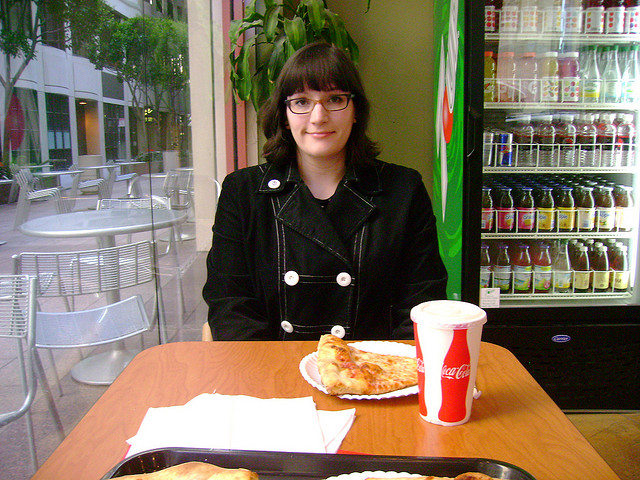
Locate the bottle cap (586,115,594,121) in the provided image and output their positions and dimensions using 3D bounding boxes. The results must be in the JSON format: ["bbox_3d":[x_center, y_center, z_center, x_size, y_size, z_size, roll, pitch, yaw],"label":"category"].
[{"bbox_3d":[1.553,-0.704,2.795,0.036,0.025,0.035,0,4,0],"label":"bottle cap"}]

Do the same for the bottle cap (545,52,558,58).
[{"bbox_3d":[1.314,-1.051,2.752,0.073,0.026,0.029,1,11,-3],"label":"bottle cap"}]

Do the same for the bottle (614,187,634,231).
[{"bbox_3d":[1.761,-0.180,2.808,0.106,0.250,0.122,7,12,24],"label":"bottle"}]

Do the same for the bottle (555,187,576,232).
[{"bbox_3d":[1.434,-0.176,2.818,0.113,0.257,0.065,-1,12,-12],"label":"bottle"}]

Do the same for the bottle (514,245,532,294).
[{"bbox_3d":[1.205,0.172,2.870,0.109,0.289,0.097,3,11,7],"label":"bottle"}]

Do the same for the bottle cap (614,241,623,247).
[{"bbox_3d":[1.759,0.023,2.861,0.041,0.024,0.040,0,1,6],"label":"bottle cap"}]

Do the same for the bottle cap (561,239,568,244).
[{"bbox_3d":[1.451,0.007,2.890,0.033,0.020,0.032,-2,1,-22],"label":"bottle cap"}]

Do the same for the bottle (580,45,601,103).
[{"bbox_3d":[1.545,-0.945,2.752,0.104,0.332,0.148,8,13,27],"label":"bottle"}]

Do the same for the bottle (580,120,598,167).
[{"bbox_3d":[1.542,-0.558,2.789,0.109,0.259,0.068,4,12,14],"label":"bottle"}]

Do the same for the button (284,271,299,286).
[{"bbox_3d":[-0.094,0.128,1.606,0.047,0.050,0.036,1,11,-5],"label":"button"}]

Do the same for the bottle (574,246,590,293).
[{"bbox_3d":[1.547,0.174,2.851,0.106,0.272,0.070,4,12,10],"label":"bottle"}]

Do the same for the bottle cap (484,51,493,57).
[{"bbox_3d":[0.951,-1.052,2.742,0.054,0.035,0.032,1,11,-5],"label":"bottle cap"}]

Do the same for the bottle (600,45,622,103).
[{"bbox_3d":[1.646,-0.943,2.753,0.112,0.316,0.105,1,11,0],"label":"bottle"}]

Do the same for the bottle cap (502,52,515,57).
[{"bbox_3d":[1.082,-1.058,2.777,0.081,0.025,0.034,-4,13,-29],"label":"bottle cap"}]

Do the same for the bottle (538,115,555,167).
[{"bbox_3d":[1.315,-0.581,2.829,0.092,0.296,0.139,5,12,16],"label":"bottle"}]

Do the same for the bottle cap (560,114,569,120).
[{"bbox_3d":[1.426,-0.717,2.839,0.032,0.023,0.032,0,5,4],"label":"bottle cap"}]

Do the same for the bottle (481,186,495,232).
[{"bbox_3d":[0.981,-0.178,2.830,0.080,0.264,0.113,5,12,18],"label":"bottle"}]

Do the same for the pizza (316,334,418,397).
[{"bbox_3d":[0.107,0.278,1.076,0.145,0.028,0.134,4,13,-15],"label":"pizza"}]

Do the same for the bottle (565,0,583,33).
[{"bbox_3d":[1.401,-1.237,2.681,0.101,0.178,0.065,4,12,10],"label":"bottle"}]

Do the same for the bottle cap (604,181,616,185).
[{"bbox_3d":[1.717,-0.339,2.882,0.043,0.010,0.042,-2,3,-15],"label":"bottle cap"}]

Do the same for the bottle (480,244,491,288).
[{"bbox_3d":[0.995,0.152,2.926,0.066,0.246,0.130,5,12,19],"label":"bottle"}]

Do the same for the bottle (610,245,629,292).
[{"bbox_3d":[1.757,0.168,2.827,0.124,0.264,0.078,-3,12,-21],"label":"bottle"}]

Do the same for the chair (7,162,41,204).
[{"bbox_3d":[-1.297,-0.252,2.142,0.137,0.181,0.127,0,11,3],"label":"chair"}]

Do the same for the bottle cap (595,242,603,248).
[{"bbox_3d":[1.638,0.026,2.859,0.037,0.022,0.036,-1,0,7],"label":"bottle cap"}]

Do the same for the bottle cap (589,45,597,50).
[{"bbox_3d":[1.559,-1.101,2.774,0.029,0.020,0.028,0,4,4],"label":"bottle cap"}]

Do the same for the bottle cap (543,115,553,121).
[{"bbox_3d":[1.338,-0.719,2.856,0.037,0.021,0.036,0,4,6],"label":"bottle cap"}]

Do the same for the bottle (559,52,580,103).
[{"bbox_3d":[1.420,-0.920,2.751,0.115,0.285,0.151,6,12,22],"label":"bottle"}]

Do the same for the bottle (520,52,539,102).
[{"bbox_3d":[1.196,-0.930,2.767,0.119,0.279,0.117,1,11,0],"label":"bottle"}]

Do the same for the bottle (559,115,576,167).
[{"bbox_3d":[1.433,-0.579,2.816,0.097,0.291,0.083,7,12,23],"label":"bottle"}]

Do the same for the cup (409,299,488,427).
[{"bbox_3d":[0.255,0.245,0.989,0.140,0.240,0.116,6,12,23],"label":"cup"}]

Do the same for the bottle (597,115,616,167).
[{"bbox_3d":[1.639,-0.574,2.790,0.094,0.289,0.120,5,12,18],"label":"bottle"}]

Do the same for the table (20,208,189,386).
[{"bbox_3d":[-1.289,0.160,2.952,0.641,0.655,0.636,-9,28,-22],"label":"table"}]

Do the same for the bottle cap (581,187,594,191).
[{"bbox_3d":[1.533,-0.292,2.786,0.049,0.020,0.025,1,11,-2],"label":"bottle cap"}]

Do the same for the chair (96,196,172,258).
[{"bbox_3d":[-1.001,-0.080,2.586,0.357,0.413,0.304,-2,2,-11],"label":"chair"}]
